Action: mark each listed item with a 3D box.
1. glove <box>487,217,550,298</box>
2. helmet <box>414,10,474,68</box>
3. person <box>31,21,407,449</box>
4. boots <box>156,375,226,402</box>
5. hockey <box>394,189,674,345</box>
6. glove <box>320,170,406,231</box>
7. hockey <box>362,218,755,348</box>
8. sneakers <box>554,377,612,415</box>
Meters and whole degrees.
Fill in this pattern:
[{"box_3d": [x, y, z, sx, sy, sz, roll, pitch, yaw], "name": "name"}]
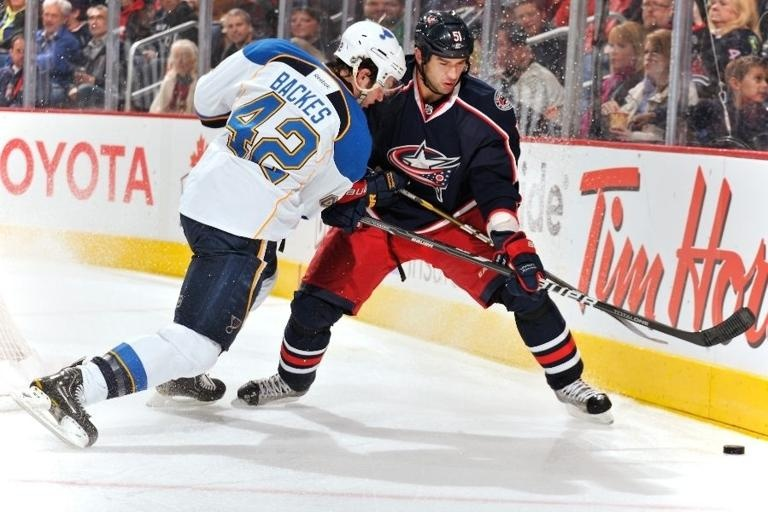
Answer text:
[{"box_3d": [0.627, -0.006, 4.612, 0.240, 0.397, 0.140, -16, -8, -29], "name": "glove"}, {"box_3d": [0.276, -1.028, 4.505, 0.229, 0.244, 0.255, -9, 18, -27], "name": "helmet"}, {"box_3d": [-0.769, -0.082, 4.204, 1.382, 1.737, 0.462, -2, 15, -20], "name": "person"}, {"box_3d": [-0.973, 0.639, 4.760, 0.361, 0.174, 0.128, -3, 32, -16], "name": "boots"}, {"box_3d": [0.871, 0.043, 5.024, 1.528, 0.204, 0.117, 32, -25, 12], "name": "hockey"}, {"box_3d": [-0.085, -0.289, 4.655, 0.407, 0.136, 0.239, -35, 2, 9], "name": "glove"}, {"box_3d": [1.000, 0.139, 4.975, 1.676, 0.164, 0.248, 20, -8, 21], "name": "hockey"}, {"box_3d": [1.004, 0.704, 4.751, 0.118, 0.145, 0.319, -31, 12, -25], "name": "sneakers"}]
